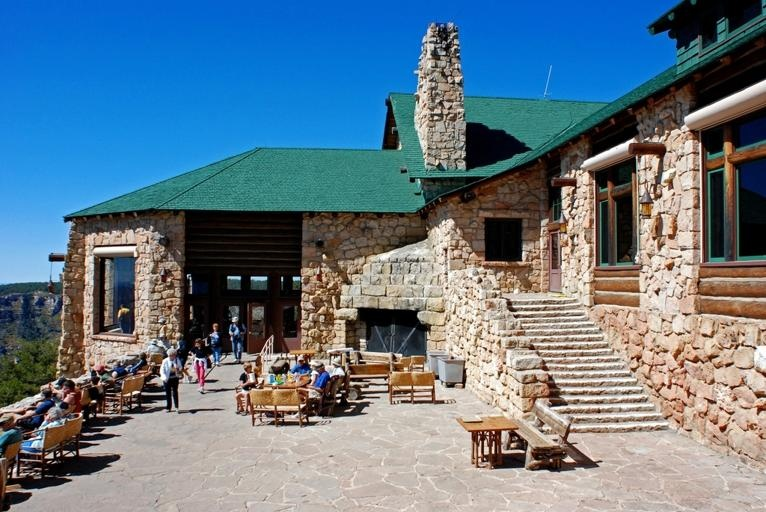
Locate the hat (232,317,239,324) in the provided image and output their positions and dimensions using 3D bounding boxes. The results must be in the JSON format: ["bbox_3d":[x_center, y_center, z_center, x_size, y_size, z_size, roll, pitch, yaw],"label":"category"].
[{"bbox_3d":[-6.169,2.646,26.616,0.286,0.209,0.284,-29,-16,27],"label":"hat"}]

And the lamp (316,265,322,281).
[{"bbox_3d":[-2.658,0.739,26.779,0.245,0.640,0.185,-1,12,3],"label":"lamp"}]

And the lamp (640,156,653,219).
[{"bbox_3d":[7.290,-1.535,17.792,0.370,1.022,0.706,3,13,22],"label":"lamp"}]

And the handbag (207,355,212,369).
[{"bbox_3d":[-6.914,4.245,25.572,0.303,0.284,0.524,-3,23,-13],"label":"handbag"}]

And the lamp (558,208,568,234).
[{"bbox_3d":[6.053,-1.149,21.629,0.192,0.762,0.424,-2,12,-2],"label":"lamp"}]

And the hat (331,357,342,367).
[{"bbox_3d":[-1.577,3.655,22.039,0.375,0.170,0.373,0,2,-36],"label":"hat"}]

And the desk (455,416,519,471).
[{"bbox_3d":[2.463,4.463,15.654,1.347,1.082,1.301,-1,1,-9],"label":"desk"}]
